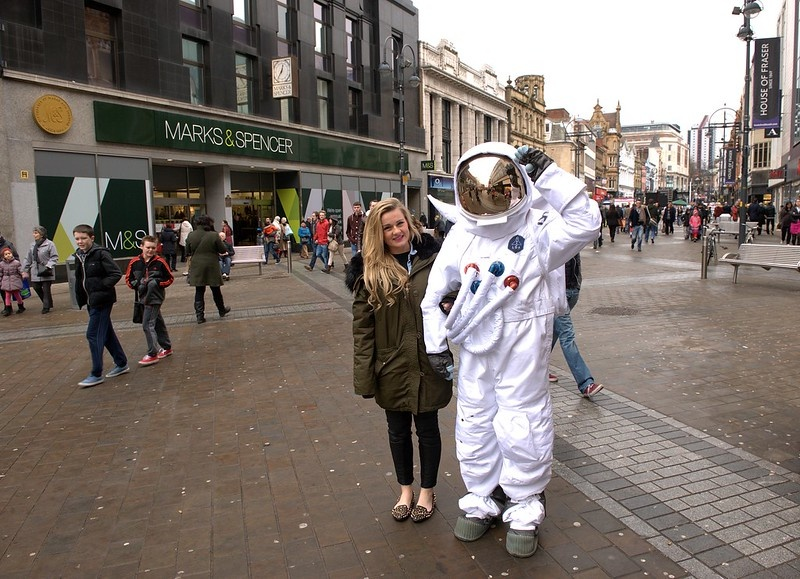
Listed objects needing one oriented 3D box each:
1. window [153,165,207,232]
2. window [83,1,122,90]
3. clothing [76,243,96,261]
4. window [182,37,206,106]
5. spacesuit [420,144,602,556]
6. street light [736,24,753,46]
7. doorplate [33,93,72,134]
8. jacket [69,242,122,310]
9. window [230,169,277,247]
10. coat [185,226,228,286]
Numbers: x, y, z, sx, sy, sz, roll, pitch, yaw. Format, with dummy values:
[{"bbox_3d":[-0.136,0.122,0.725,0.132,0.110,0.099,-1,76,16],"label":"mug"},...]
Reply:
[{"bbox_3d":[-8.431,-3.328,23.306,0.078,2.835,2.890,-9,2,27],"label":"window"},{"bbox_3d":[-9.244,-7.616,19.007,0.228,2.368,1.159,6,15,30],"label":"window"},{"bbox_3d":[-4.255,-0.482,8.285,0.224,0.299,0.123,0,-8,1],"label":"clothing"},{"bbox_3d":[-7.459,-8.003,22.254,0.362,2.275,1.036,3,13,18],"label":"window"},{"bbox_3d":[0.747,0.427,4.510,1.179,2.954,0.732,2,13,17],"label":"spacesuit"},{"bbox_3d":[12.009,-8.898,21.094,0.385,0.584,0.913,7,15,32],"label":"street light"},{"bbox_3d":[-9.995,-5.074,17.425,0.181,1.005,1.084,1,24,21],"label":"doorplate"},{"bbox_3d":[-4.099,-0.185,8.276,0.737,0.842,0.477,-5,0,23],"label":"jacket"},{"bbox_3d":[-6.333,-3.488,25.946,0.226,3.752,3.638,0,8,22],"label":"window"},{"bbox_3d":[-3.689,-0.565,11.638,0.681,1.570,0.529,-1,6,-13],"label":"coat"}]
